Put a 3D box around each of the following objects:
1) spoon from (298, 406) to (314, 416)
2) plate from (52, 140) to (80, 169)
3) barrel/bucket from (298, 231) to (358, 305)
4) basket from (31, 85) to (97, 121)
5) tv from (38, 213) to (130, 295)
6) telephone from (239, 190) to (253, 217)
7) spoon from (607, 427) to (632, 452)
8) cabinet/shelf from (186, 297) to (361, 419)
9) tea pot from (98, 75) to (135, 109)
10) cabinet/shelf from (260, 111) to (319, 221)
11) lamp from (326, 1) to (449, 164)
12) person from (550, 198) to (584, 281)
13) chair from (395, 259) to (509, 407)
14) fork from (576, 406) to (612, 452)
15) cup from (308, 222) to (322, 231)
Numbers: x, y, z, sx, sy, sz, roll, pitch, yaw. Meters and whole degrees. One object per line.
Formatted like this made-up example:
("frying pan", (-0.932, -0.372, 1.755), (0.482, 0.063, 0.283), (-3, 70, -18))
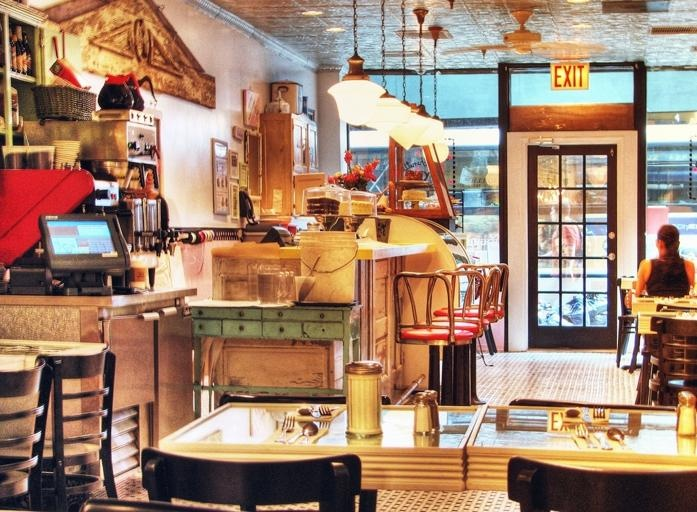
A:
("spoon", (-0.164, 0.601, 2.802), (0.034, 0.017, 0.035), (2, -3, 40))
("plate", (-1.821, -0.627, 4.676), (0.199, 0.191, 0.193), (2, -6, -27))
("barrel/bucket", (-0.140, 0.078, 4.504), (0.435, 0.478, 0.428), (0, 2, 0))
("basket", (-1.868, -0.988, 4.727), (0.325, 0.144, 0.237), (0, 1, 33))
("tv", (-1.524, -0.023, 4.106), (0.458, 0.431, 0.357), (-2, 5, -38))
("telephone", (-1.115, -0.538, 7.721), (0.210, 0.365, 0.391), (0, 0, -7))
("spoon", (0.912, 0.626, 2.447), (0.038, 0.027, 0.068), (7, 15, -6))
("cabinet/shelf", (-0.482, 0.739, 4.666), (1.062, 0.853, 0.440), (-1, -7, 14))
("tea pot", (-1.596, -1.104, 4.921), (0.231, 0.248, 0.154), (-2, 4, -18))
("cabinet/shelf", (-0.832, -1.132, 9.404), (0.584, 1.283, 1.358), (4, 6, -3))
("lamp", (0.446, -1.926, 7.833), (0.523, 1.480, 1.503), (-16, -26, 38))
("person", (2.932, -0.244, 9.698), (0.397, 1.089, 0.120), (0, 4, 14))
("chair", (0.835, 0.646, 6.067), (0.498, 0.882, 1.360), (-1, -1, 12))
("fork", (0.857, 0.610, 2.530), (0.072, 0.036, 0.250), (1, 5, 10))
("cup", (-0.269, -0.239, 5.706), (0.128, 0.073, 0.124), (1, -7, 0))
